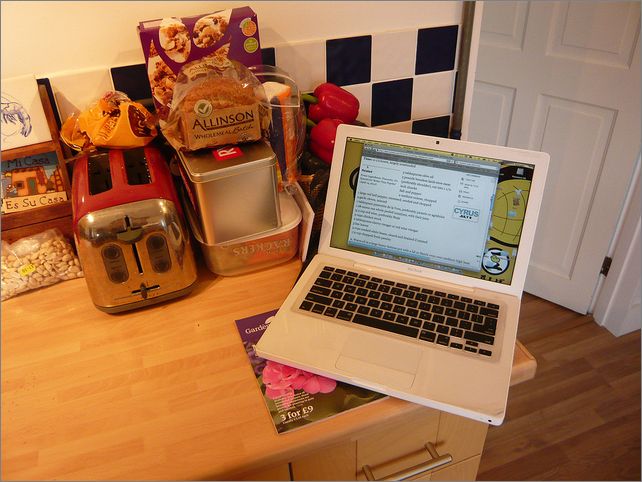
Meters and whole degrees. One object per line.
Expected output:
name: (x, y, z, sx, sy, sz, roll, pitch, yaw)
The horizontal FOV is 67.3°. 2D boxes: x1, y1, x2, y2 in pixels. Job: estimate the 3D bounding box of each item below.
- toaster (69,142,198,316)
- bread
toaster: (-0.461, -0.061, 1.158, 0.263, 0.244, 0.412, -16, 41, -22)
bread: (-0.240, -0.291, 1.046, 0.209, 0.128, 0.152, -17, 37, -30)
